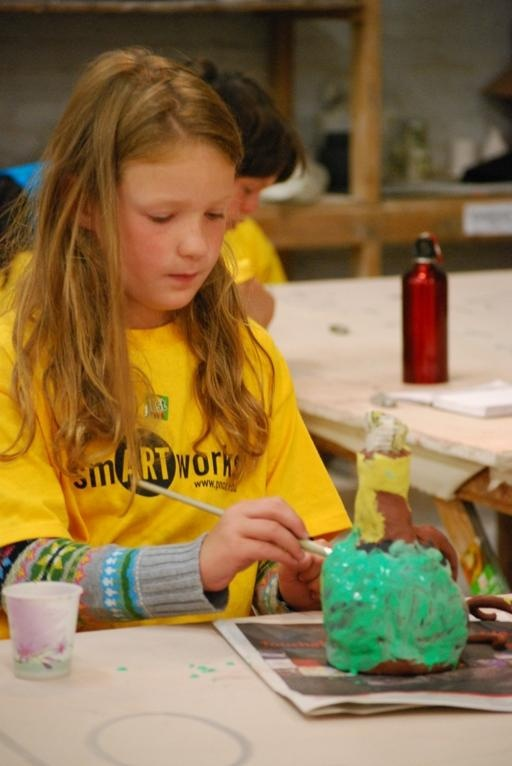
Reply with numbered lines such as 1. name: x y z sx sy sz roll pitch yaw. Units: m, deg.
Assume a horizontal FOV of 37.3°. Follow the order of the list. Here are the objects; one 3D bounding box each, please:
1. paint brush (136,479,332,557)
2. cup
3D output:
1. paint brush: -0.033 0.149 0.827 0.254 0.026 0.027 19 -7 4
2. cup: -0.166 0.195 0.599 0.084 0.063 0.058 -1 3 -15
